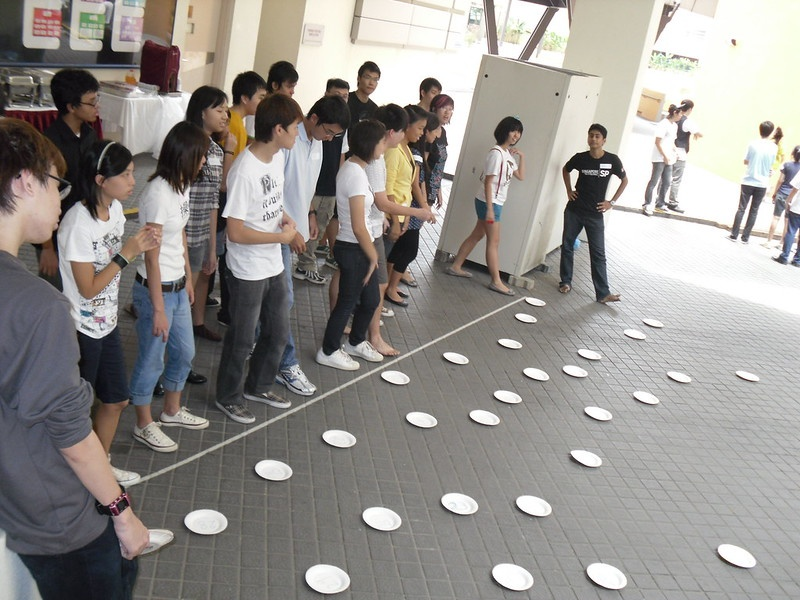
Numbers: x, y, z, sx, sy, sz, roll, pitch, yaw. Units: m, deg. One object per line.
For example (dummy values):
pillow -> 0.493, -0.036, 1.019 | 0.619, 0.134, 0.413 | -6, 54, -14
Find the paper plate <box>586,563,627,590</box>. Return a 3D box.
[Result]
paper plate -> 1.287, 1.705, 3.226 | 0.256, 0.030, 0.180 | 9, 18, -4

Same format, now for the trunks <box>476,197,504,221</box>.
trunks -> 1.223, -1.260, 7.069 | 0.384, 0.300, 0.271 | 10, 3, 19

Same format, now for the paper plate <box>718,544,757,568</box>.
paper plate -> 2.323, 1.748, 3.570 | 0.285, 0.031, 0.178 | 5, 19, -16

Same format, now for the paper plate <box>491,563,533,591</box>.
paper plate -> 0.675, 1.645, 3.101 | 0.256, 0.030, 0.178 | 6, 19, -14

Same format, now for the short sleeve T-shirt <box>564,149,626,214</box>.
short sleeve T-shirt -> 2.718, -1.642, 7.241 | 0.937, 0.827, 0.334 | 13, 37, 25

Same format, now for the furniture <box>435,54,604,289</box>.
furniture -> 1.722, -1.851, 7.844 | 1.640, 2.892, 1.733 | 17, 8, 24

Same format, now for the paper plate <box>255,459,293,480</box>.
paper plate -> -0.859, 1.149, 3.527 | 0.140, 0.021, 0.145 | 5, 29, -17

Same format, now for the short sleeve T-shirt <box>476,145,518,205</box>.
short sleeve T-shirt -> 1.304, -1.641, 6.867 | 0.380, 0.740, 0.729 | 30, 32, 27
